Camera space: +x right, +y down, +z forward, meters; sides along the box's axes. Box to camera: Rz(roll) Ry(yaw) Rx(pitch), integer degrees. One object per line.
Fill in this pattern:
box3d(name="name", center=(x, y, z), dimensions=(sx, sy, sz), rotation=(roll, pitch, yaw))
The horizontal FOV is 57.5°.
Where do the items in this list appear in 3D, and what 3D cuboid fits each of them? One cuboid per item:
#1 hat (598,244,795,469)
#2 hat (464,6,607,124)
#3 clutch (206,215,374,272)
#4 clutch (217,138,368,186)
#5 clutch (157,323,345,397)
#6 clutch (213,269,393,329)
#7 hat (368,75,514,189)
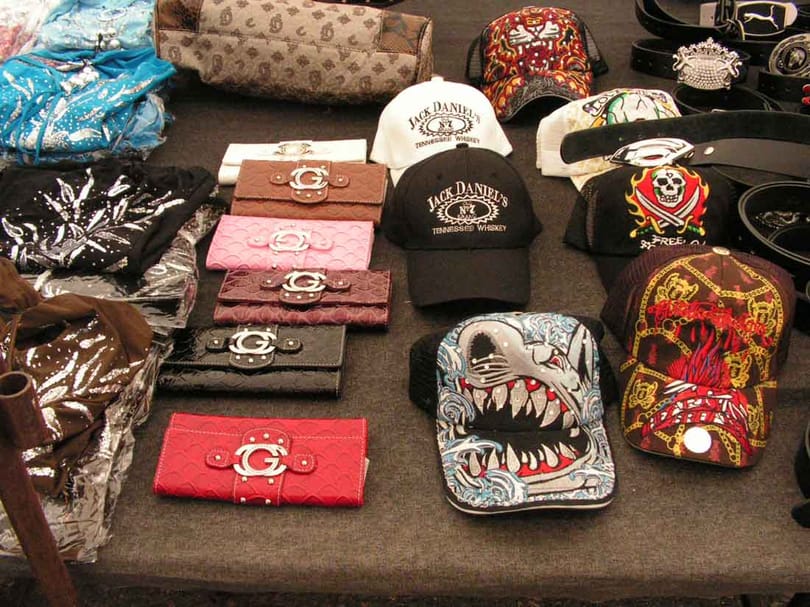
box3d(name="hat", center=(0.667, 0.156, 1.722), dimensions=(0.419, 0.277, 0.492), rotation=(8, 64, 16))
box3d(name="hat", center=(0.442, -0.838, 2.549), dimensions=(0.484, 0.241, 0.511), rotation=(-6, 29, 3))
box3d(name="clutch", center=(-0.318, -0.171, 2.041), dimensions=(0.376, 0.055, 0.165), rotation=(2, 54, 2))
box3d(name="clutch", center=(-0.352, -0.475, 2.394), dimensions=(0.391, 0.046, 0.183), rotation=(-3, 40, 0))
box3d(name="clutch", center=(-0.361, 0.132, 1.788), dimensions=(0.398, 0.080, 0.162), rotation=(1, 53, 3))
box3d(name="clutch", center=(-0.262, -0.014, 1.918), dimensions=(0.385, 0.082, 0.167), rotation=(1, 54, 2))
box3d(name="hat", center=(0.147, -0.516, 2.431), dimensions=(0.518, 0.596, 0.280), rotation=(-4, 88, 3))
